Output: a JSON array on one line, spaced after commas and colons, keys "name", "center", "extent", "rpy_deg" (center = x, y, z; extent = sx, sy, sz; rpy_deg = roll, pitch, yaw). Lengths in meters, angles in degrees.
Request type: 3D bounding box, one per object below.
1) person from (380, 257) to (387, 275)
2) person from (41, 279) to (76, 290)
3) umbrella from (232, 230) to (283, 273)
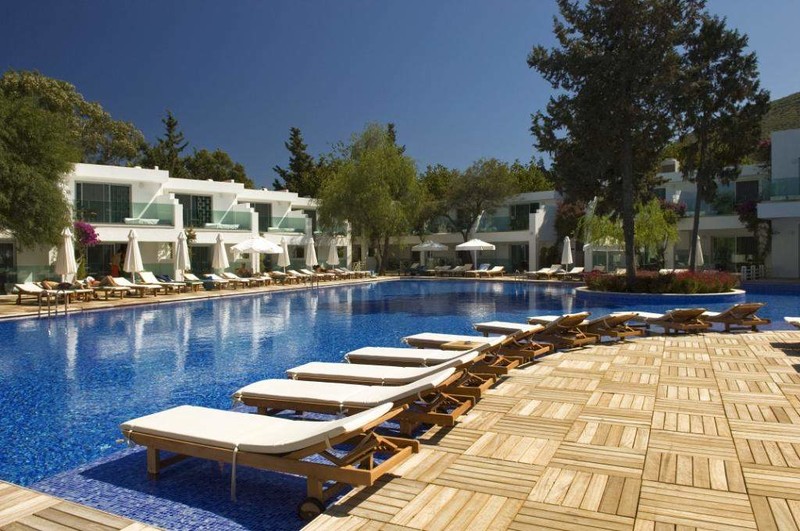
[{"name": "person", "center": [-1.210, 0.046, 40.187], "extent": [0.446, 0.992, 1.438], "rpy_deg": [-2, 0, -3]}, {"name": "person", "center": [-13.237, 0.770, 21.178], "extent": [1.182, 0.336, 0.835], "rpy_deg": [-2, -3, 5]}, {"name": "umbrella", "center": [-8.477, -0.907, 32.132], "extent": [3.040, 2.356, 2.912], "rpy_deg": [2, 9, -33]}]
